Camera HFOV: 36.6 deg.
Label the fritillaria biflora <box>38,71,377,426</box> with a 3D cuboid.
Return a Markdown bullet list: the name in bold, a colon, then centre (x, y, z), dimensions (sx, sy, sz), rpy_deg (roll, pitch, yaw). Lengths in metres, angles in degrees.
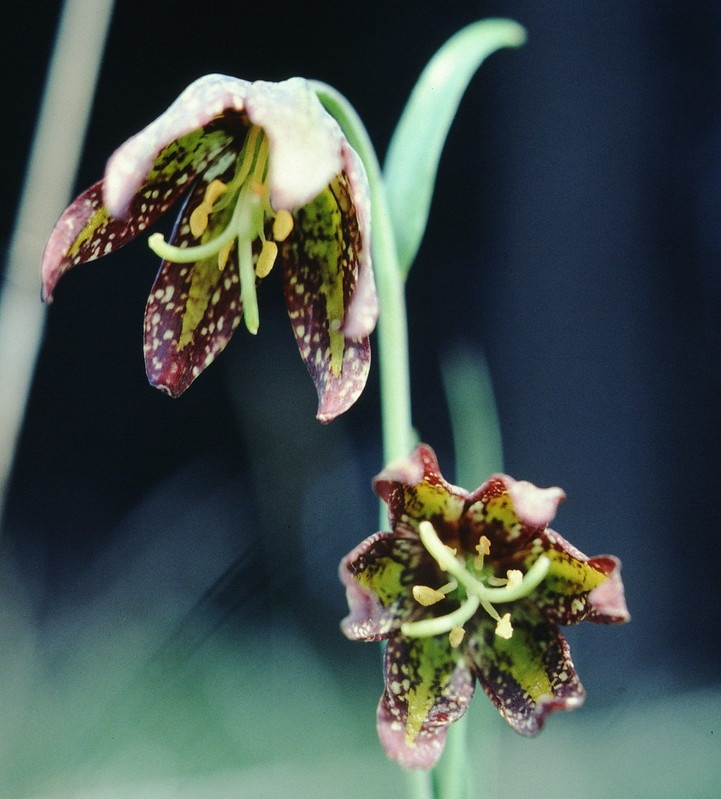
- **fritillaria biflora**: centre (-0.106, -0.095, 0.739), dimensions (0.203, 0.231, 0.233), rpy_deg (-3, -4, -26)
